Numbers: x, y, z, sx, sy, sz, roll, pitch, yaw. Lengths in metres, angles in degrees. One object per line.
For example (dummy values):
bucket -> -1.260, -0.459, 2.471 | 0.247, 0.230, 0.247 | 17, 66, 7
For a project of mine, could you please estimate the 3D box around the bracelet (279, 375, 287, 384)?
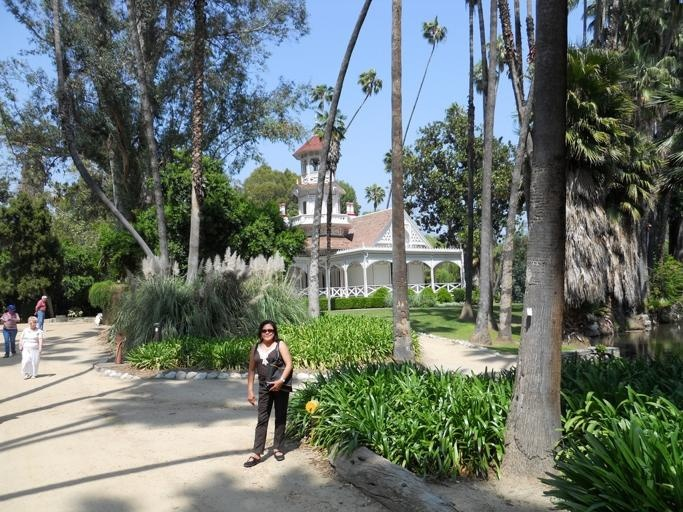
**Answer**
bracelet -> -0.836, 1.792, 7.627 | 0.083, 0.110, 0.063 | -1, 1, 9

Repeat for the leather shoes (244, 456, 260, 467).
leather shoes -> -1.250, 2.889, 7.434 | 0.087, 0.114, 0.287 | -5, -18, 21

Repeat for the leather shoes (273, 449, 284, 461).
leather shoes -> -0.904, 2.884, 7.719 | 0.166, 0.119, 0.296 | 1, -6, -8
